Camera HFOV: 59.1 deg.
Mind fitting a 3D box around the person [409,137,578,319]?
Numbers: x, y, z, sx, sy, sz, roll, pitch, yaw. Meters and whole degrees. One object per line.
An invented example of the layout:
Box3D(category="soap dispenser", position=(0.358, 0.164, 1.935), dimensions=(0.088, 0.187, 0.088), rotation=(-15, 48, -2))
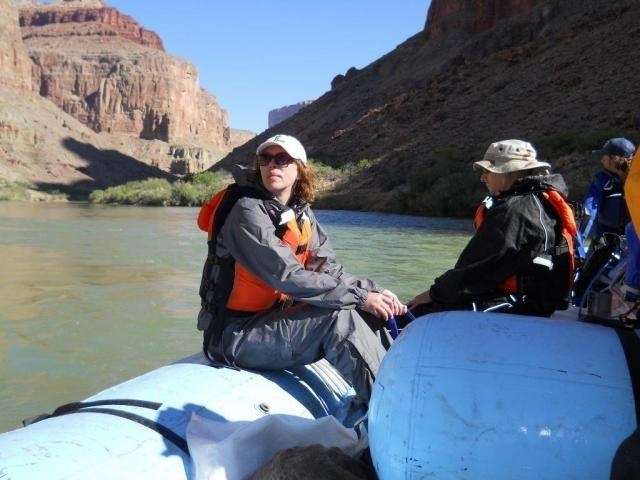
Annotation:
Box3D(category="person", position=(0.939, -0.050, 3.078), dimensions=(0.862, 0.957, 0.679), rotation=(-1, 11, 23))

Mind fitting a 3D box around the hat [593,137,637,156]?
Box3D(category="hat", position=(2.312, -0.727, 4.434), dimensions=(0.250, 0.145, 0.178), rotation=(21, 26, 38))

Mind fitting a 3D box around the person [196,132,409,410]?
Box3D(category="person", position=(-0.127, 0.112, 2.934), dimensions=(1.070, 1.347, 0.630), rotation=(7, 4, 8))
